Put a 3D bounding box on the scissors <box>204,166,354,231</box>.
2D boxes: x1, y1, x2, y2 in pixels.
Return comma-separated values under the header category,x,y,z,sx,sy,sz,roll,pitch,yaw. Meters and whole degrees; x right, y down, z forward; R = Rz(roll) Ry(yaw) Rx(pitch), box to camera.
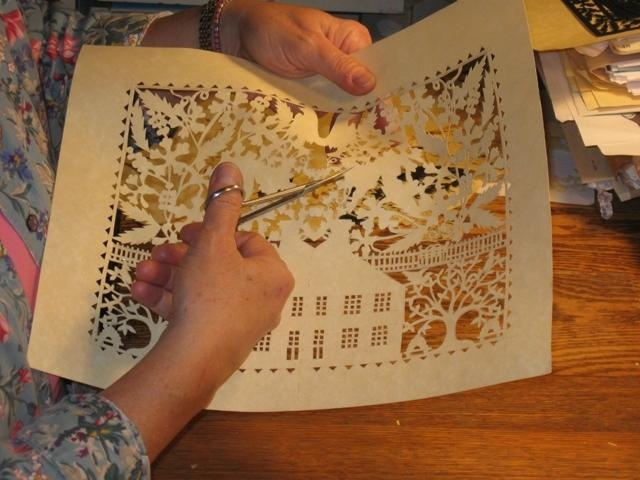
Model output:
category,x,y,z,sx,sy,sz,roll,pitch,yaw
scissors,-0.040,-0.081,0.876,0.225,0.045,0.074,-19,42,-6
